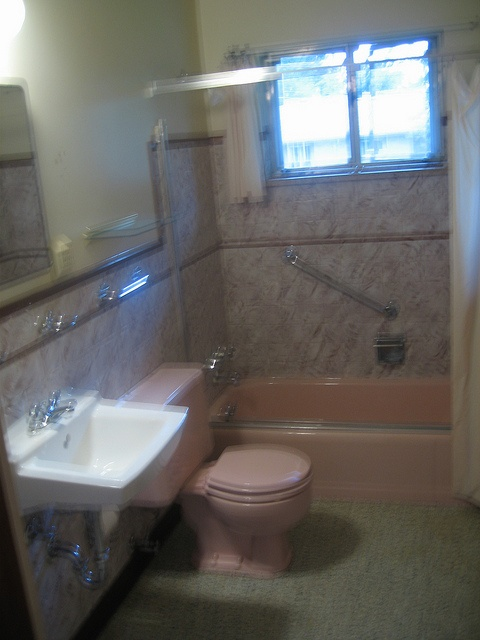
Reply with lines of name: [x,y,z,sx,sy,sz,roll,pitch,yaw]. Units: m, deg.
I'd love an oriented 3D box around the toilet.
toilet: [-0.035,0.465,1.912,0.707,0.793,0.553,0,16,7]

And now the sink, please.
sink: [-0.366,0.340,1.232,0.288,0.155,0.419,5,16,5]
